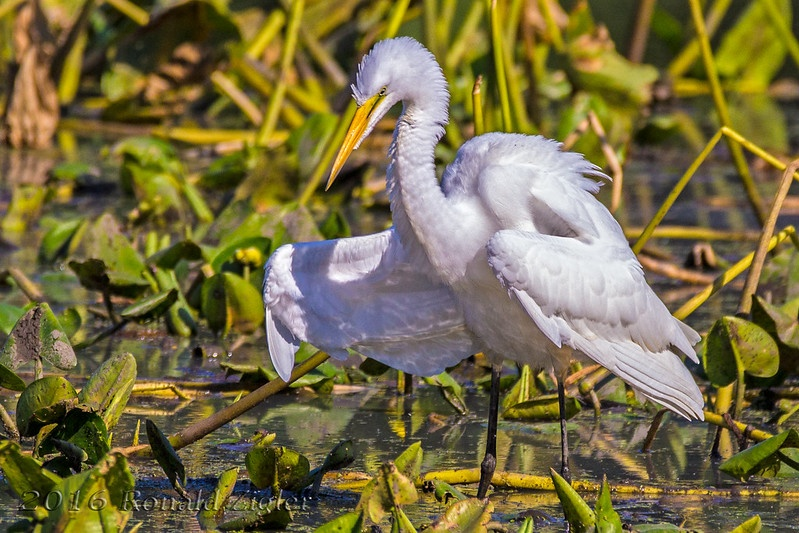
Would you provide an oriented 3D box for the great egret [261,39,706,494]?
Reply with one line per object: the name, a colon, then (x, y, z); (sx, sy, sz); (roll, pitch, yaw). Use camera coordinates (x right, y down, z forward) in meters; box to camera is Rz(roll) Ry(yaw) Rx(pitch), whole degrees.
great egret: (0.664, 0.220, 5.719); (2.512, 2.245, 1.638); (4, -3, -32)
